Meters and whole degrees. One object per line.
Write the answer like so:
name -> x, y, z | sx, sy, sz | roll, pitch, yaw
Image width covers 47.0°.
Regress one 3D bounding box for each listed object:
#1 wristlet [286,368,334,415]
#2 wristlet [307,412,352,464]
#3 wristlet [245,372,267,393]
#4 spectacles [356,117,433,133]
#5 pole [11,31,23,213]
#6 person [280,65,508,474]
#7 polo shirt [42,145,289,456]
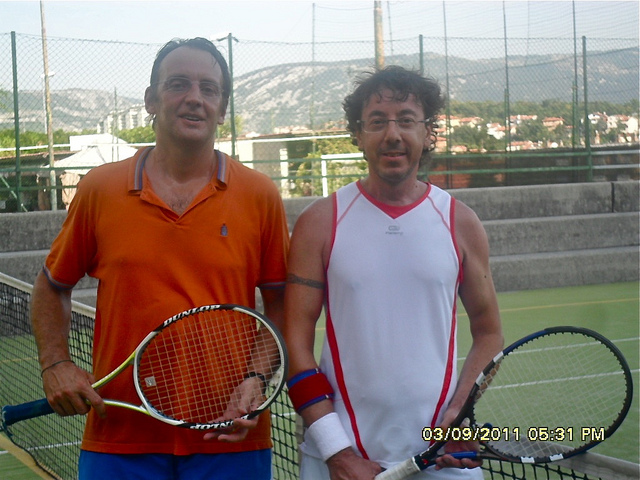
wristlet -> -0.053, 0.651, 3.284 | 0.157, 0.175, 0.194 | -11, -24, -22
wristlet -> 0.035, 0.824, 3.179 | 0.179, 0.196, 0.168 | -1, 5, -41
wristlet -> -0.275, 0.624, 3.228 | 0.070, 0.084, 0.019 | 0, -10, -4
spectacles -> 0.324, -0.513, 3.304 | 0.271, 0.068, 0.079 | 0, 6, 11
pole -> -4.372, -1.643, 10.530 | 0.081, 2.492, 0.552 | -3, 6, -24
person -> 0.313, 0.104, 3.254 | 0.977, 1.737, 0.484 | -1, 5, -4
polo shirt -> -0.679, 0.268, 3.326 | 1.062, 1.353, 0.352 | -1, 5, 3
